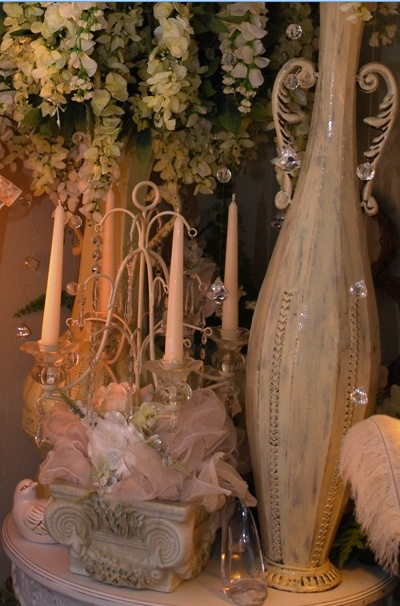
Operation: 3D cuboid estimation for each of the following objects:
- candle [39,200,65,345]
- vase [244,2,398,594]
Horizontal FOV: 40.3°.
[{"bbox_3d":[-0.176,-0.034,0.642,0.027,0.163,0.071,0,8,-15],"label":"candle"},{"bbox_3d":[0.148,-0.005,0.712,0.174,0.751,0.160,4,8,15],"label":"vase"}]
